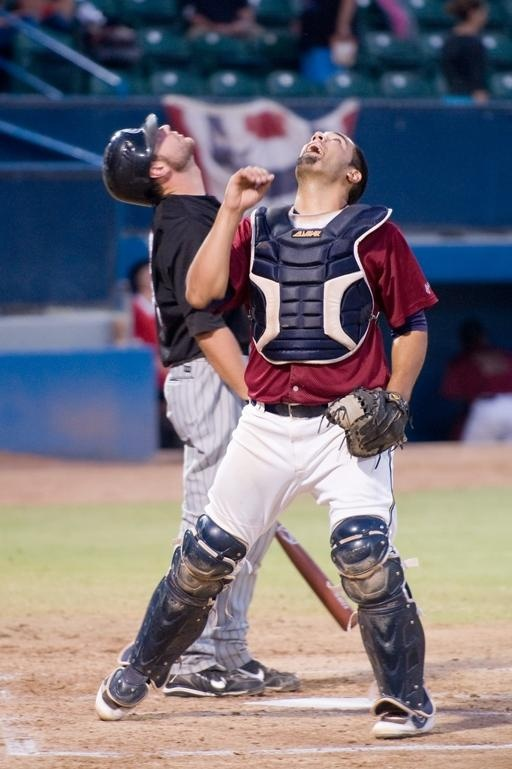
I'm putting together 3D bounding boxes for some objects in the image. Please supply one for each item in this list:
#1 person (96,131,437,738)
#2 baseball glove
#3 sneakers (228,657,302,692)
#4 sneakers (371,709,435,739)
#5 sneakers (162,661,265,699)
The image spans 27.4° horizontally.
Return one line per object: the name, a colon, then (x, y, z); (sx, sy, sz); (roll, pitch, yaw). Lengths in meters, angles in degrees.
person: (0.075, 0.212, 2.681); (0.735, 1.328, 0.312); (-1, 3, 22)
baseball glove: (0.286, 0.094, 2.557); (0.142, 0.170, 0.251); (0, 2, 43)
sneakers: (0.041, 0.870, 3.188); (0.238, 0.079, 0.076); (6, 13, 5)
sneakers: (0.366, 0.832, 2.592); (0.147, 0.045, 0.069); (4, -26, 0)
sneakers: (-0.133, 0.879, 3.156); (0.355, 0.111, 0.105); (-1, -5, -1)
